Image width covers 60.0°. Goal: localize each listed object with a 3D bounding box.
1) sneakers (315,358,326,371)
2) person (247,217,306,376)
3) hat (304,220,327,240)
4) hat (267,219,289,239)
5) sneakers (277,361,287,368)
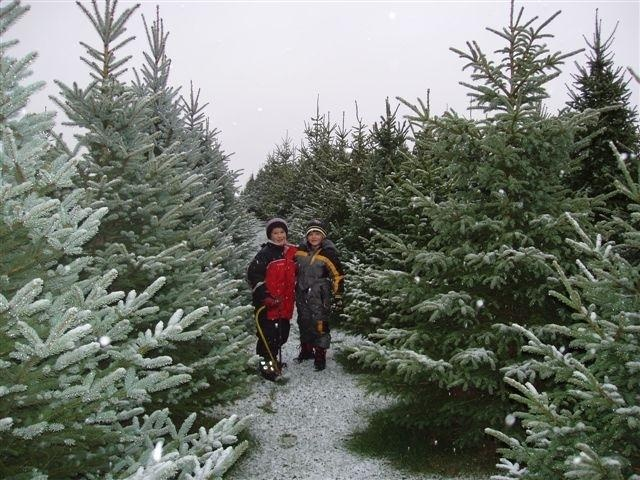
[{"bbox_3d":[0.002,1.885,8.413,0.179,0.159,0.166,0,-11,-1],"label":"sneakers"},{"bbox_3d":[-0.706,0.838,8.060,0.585,2.227,0.763,4,15,8],"label":"person"},{"bbox_3d":[-0.054,-0.170,8.416,0.285,0.240,0.274,2,-6,0],"label":"hat"},{"bbox_3d":[-0.623,-0.190,8.082,0.283,0.218,0.301,0,2,-9],"label":"hat"},{"bbox_3d":[-0.555,1.869,8.373,0.105,0.047,0.139,2,-1,4],"label":"sneakers"}]
